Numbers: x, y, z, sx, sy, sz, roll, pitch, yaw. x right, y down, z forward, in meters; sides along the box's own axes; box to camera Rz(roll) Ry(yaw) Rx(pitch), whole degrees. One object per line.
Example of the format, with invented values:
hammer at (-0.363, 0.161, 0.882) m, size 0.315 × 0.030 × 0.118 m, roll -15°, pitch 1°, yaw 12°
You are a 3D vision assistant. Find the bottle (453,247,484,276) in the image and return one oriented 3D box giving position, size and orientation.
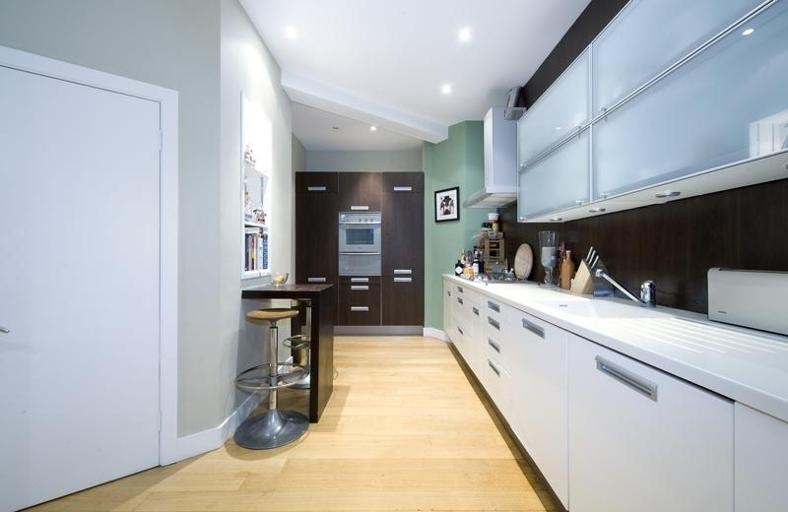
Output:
bottle at (0.849, 0.066, 5.520) m, size 0.304 × 0.301 × 0.310 m, roll -1°, pitch 4°, yaw -16°

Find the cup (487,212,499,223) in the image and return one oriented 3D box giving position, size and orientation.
cup at (1.119, -0.441, 5.570) m, size 0.112 × 0.107 × 0.114 m, roll 0°, pitch -2°, yaw 0°

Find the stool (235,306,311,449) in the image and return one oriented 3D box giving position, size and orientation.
stool at (-0.947, 0.915, 3.865) m, size 0.608 × 0.923 × 0.612 m, roll 0°, pitch 1°, yaw -40°

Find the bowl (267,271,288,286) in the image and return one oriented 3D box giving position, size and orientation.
bowl at (-1.006, 0.194, 4.313) m, size 0.113 × 0.079 × 0.115 m, roll 0°, pitch -7°, yaw 0°

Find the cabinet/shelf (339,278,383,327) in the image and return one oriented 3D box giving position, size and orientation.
cabinet/shelf at (-0.373, 0.614, 6.726) m, size 0.647 × 0.734 × 0.576 m, roll 0°, pitch -6°, yaw 2°

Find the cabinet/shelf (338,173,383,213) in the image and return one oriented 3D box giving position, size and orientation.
cabinet/shelf at (-0.431, -0.842, 6.470) m, size 0.564 × 0.325 × 0.108 m, roll -1°, pitch 1°, yaw -9°

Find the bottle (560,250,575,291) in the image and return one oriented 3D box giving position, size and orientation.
bottle at (1.437, 0.109, 4.086) m, size 0.109 × 0.323 × 0.140 m, roll -1°, pitch 1°, yaw 7°

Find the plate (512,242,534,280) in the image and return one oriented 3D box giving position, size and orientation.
plate at (1.290, 0.047, 4.970) m, size 0.117 × 0.361 × 0.325 m, roll -1°, pitch 1°, yaw -16°

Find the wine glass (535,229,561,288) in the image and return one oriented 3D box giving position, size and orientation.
wine glass at (1.376, 0.006, 4.337) m, size 0.160 × 0.489 × 0.292 m, roll -1°, pitch 1°, yaw 24°

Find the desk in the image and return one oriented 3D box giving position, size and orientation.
desk at (-0.898, 0.802, 4.467) m, size 0.861 × 1.056 × 1.122 m, roll 0°, pitch -3°, yaw -10°

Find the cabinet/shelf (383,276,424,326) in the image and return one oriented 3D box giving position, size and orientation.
cabinet/shelf at (0.108, 0.606, 6.436) m, size 0.621 × 0.749 × 0.396 m, roll -1°, pitch 0°, yaw 3°

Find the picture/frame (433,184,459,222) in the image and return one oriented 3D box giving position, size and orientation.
picture/frame at (0.653, -0.669, 6.096) m, size 0.036 × 0.488 × 0.501 m, roll 1°, pitch -1°, yaw -32°
